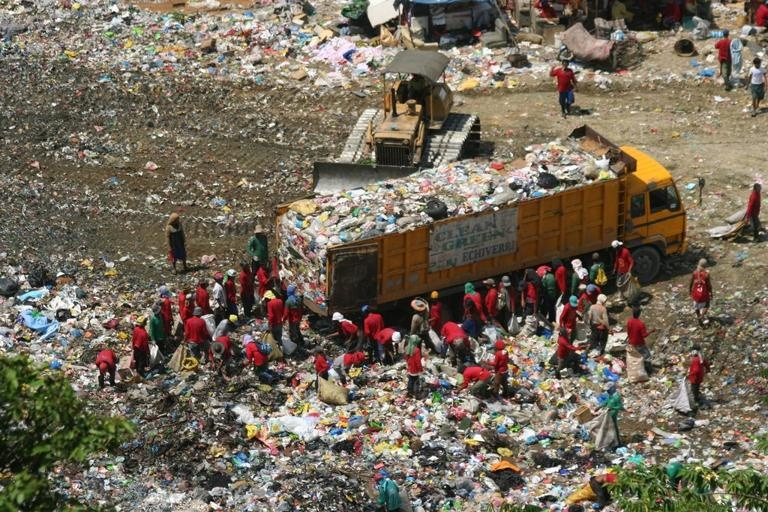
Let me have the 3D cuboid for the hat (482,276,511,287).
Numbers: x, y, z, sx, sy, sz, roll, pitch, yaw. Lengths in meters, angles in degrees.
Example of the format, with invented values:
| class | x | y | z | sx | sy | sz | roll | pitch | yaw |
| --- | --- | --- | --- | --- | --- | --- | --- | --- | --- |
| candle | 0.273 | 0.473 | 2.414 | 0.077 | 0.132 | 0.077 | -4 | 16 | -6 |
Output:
| class | x | y | z | sx | sy | sz | roll | pitch | yaw |
| --- | --- | --- | --- | --- | --- | --- | --- | --- | --- |
| hat | 2.769 | 0.604 | 28.869 | 0.489 | 0.146 | 0.323 | -8 | 4 | 8 |

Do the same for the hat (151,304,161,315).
| class | x | y | z | sx | sy | sz | roll | pitch | yaw |
| --- | --- | --- | --- | --- | --- | --- | --- | --- | --- |
| hat | -5.374 | 1.237 | 28.306 | 0.191 | 0.217 | 0.234 | 4 | 1 | 6 |

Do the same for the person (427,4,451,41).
| class | x | y | z | sx | sy | sz | roll | pitch | yaw |
| --- | --- | --- | --- | --- | --- | --- | --- | --- | --- |
| person | 1.820 | -7.782 | 39.449 | 0.530 | 1.018 | 0.518 | -3 | 30 | 2 |

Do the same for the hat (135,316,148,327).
| class | x | y | z | sx | sy | sz | roll | pitch | yaw |
| --- | --- | --- | --- | --- | --- | --- | --- | --- | --- |
| hat | -5.712 | 1.513 | 28.061 | 0.214 | 0.252 | 0.271 | -6 | -7 | -5 |

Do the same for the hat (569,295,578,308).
| class | x | y | z | sx | sy | sz | roll | pitch | yaw |
| --- | --- | --- | --- | --- | --- | --- | --- | --- | --- |
| hat | 4.522 | 1.052 | 28.321 | 0.197 | 0.294 | 0.416 | 1 | 29 | 9 |

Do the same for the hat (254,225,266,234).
| class | x | y | z | sx | sy | sz | roll | pitch | yaw |
| --- | --- | --- | --- | --- | --- | --- | --- | --- | --- |
| hat | -3.145 | -0.694 | 30.136 | 0.238 | 0.110 | 0.270 | -14 | 8 | 6 |

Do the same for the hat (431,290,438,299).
| class | x | y | z | sx | sy | sz | roll | pitch | yaw |
| --- | --- | --- | --- | --- | --- | --- | --- | --- | --- |
| hat | 1.246 | 0.919 | 28.466 | 0.165 | 0.093 | 0.158 | -18 | 44 | -17 |

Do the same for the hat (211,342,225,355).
| class | x | y | z | sx | sy | sz | roll | pitch | yaw |
| --- | --- | --- | --- | --- | --- | --- | --- | --- | --- |
| hat | -3.874 | 2.123 | 27.813 | 0.301 | 0.297 | 0.178 | -1 | 30 | 4 |

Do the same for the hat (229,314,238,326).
| class | x | y | z | sx | sy | sz | roll | pitch | yaw |
| --- | --- | --- | --- | --- | --- | --- | --- | --- | --- |
| hat | -3.645 | 1.505 | 28.634 | 0.130 | 0.220 | 0.287 | -32 | 20 | 10 |

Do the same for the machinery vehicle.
| class | x | y | z | sx | sy | sz | roll | pitch | yaw |
| --- | --- | --- | --- | --- | --- | --- | --- | --- | --- |
| machinery vehicle | 0.548 | -3.730 | 32.780 | 3.654 | 2.650 | 5.511 | 5 | 28 | 15 |

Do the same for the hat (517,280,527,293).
| class | x | y | z | sx | sy | sz | roll | pitch | yaw |
| --- | --- | --- | --- | --- | --- | --- | --- | --- | --- |
| hat | 3.352 | 0.704 | 28.807 | 0.225 | 0.216 | 0.060 | -4 | -21 | 39 |

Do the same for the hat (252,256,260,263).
| class | x | y | z | sx | sy | sz | roll | pitch | yaw |
| --- | --- | --- | --- | --- | --- | --- | --- | --- | --- |
| hat | -3.201 | 0.063 | 30.083 | 0.210 | 0.109 | 0.149 | -1 | -20 | -10 |

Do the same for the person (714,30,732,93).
| class | x | y | z | sx | sy | sz | roll | pitch | yaw |
| --- | --- | --- | --- | --- | --- | --- | --- | --- | --- |
| person | 10.269 | -5.858 | 35.946 | 0.530 | 1.447 | 0.984 | 3 | 30 | 12 |

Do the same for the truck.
| class | x | y | z | sx | sy | sz | roll | pitch | yaw |
| --- | --- | --- | --- | --- | --- | --- | --- | --- | --- |
| truck | 3.164 | -0.410 | 30.821 | 9.671 | 3.355 | 4.588 | -14 | 12 | -17 |

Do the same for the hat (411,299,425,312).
| class | x | y | z | sx | sy | sz | roll | pitch | yaw |
| --- | --- | --- | --- | --- | --- | --- | --- | --- | --- |
| hat | 0.858 | 1.167 | 28.575 | 0.366 | 0.209 | 0.263 | 11 | 32 | 24 |

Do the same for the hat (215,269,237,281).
| class | x | y | z | sx | sy | sz | roll | pitch | yaw |
| --- | --- | --- | --- | --- | --- | --- | --- | --- | --- |
| hat | -3.899 | 0.479 | 29.432 | 0.451 | 0.167 | 0.317 | -4 | 18 | -3 |

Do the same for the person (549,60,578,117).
| class | x | y | z | sx | sy | sz | roll | pitch | yaw |
| --- | --- | --- | --- | --- | --- | --- | --- | --- | --- |
| person | 5.461 | -5.184 | 36.093 | 0.725 | 1.357 | 1.638 | 0 | 29 | 7 |

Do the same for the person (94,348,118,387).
| class | x | y | z | sx | sy | sz | roll | pitch | yaw |
| --- | --- | --- | --- | --- | --- | --- | --- | --- | --- |
| person | -6.529 | 2.578 | 28.058 | 0.477 | 0.785 | 1.384 | -2 | 9 | -8 |

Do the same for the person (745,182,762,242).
| class | x | y | z | sx | sy | sz | roll | pitch | yaw |
| --- | --- | --- | --- | --- | --- | --- | --- | --- | --- |
| person | 9.570 | -1.260 | 30.698 | 0.414 | 1.505 | 0.814 | 6 | 31 | 17 |

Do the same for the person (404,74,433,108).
| class | x | y | z | sx | sy | sz | roll | pitch | yaw |
| --- | --- | --- | --- | --- | --- | --- | --- | --- | --- |
| person | 0.998 | -4.623 | 32.981 | 0.674 | 0.828 | 0.285 | 8 | 24 | 11 |

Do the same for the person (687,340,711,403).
| class | x | y | z | sx | sy | sz | roll | pitch | yaw |
| --- | --- | --- | --- | --- | --- | --- | --- | --- | --- |
| person | 7.060 | 2.668 | 26.850 | 0.407 | 1.227 | 0.658 | 4 | 31 | 14 |

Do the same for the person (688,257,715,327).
| class | x | y | z | sx | sy | sz | roll | pitch | yaw |
| --- | --- | --- | --- | --- | --- | --- | --- | --- | --- |
| person | 7.557 | 0.812 | 28.338 | 0.489 | 1.597 | 0.577 | 5 | 31 | 15 |
